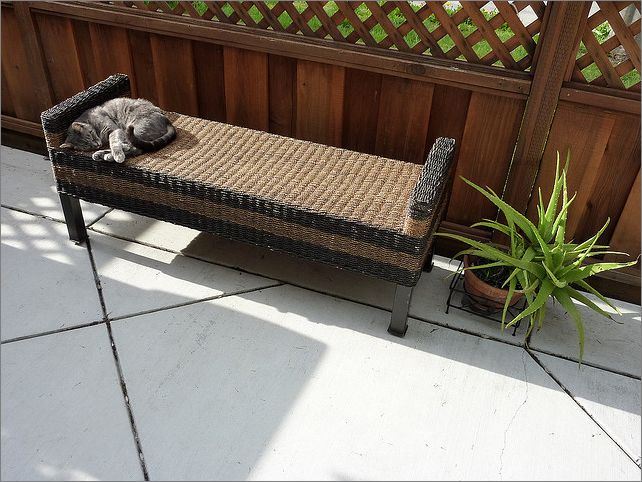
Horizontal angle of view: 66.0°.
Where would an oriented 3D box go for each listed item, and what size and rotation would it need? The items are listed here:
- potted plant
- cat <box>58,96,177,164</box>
[{"bbox_3d":[1.059,0.052,2.333,0.799,0.855,0.772,15,33,14],"label":"potted plant"},{"bbox_3d":[-1.009,-0.570,2.518,0.356,0.154,0.471,35,45,28],"label":"cat"}]
